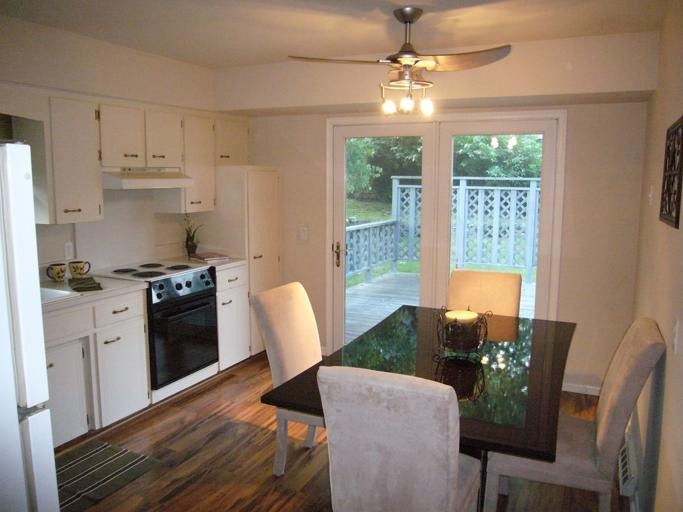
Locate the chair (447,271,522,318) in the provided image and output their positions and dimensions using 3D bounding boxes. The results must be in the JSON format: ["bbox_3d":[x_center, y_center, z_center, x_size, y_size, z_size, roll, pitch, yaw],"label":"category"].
[{"bbox_3d":[1.110,0.265,4.071,0.364,0.528,0.434,3,-3,19],"label":"chair"}]

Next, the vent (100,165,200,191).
[{"bbox_3d":[-1.634,-0.666,4.520,0.322,0.175,0.783,7,15,24],"label":"vent"}]

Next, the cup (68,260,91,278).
[{"bbox_3d":[-2.098,0.105,4.211,0.134,0.126,0.179,3,6,32],"label":"cup"}]

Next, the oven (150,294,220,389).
[{"bbox_3d":[-1.473,0.760,4.565,0.492,0.688,0.753,0,6,32],"label":"oven"}]

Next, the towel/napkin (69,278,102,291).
[{"bbox_3d":[-1.894,0.215,3.905,0.140,0.043,0.139,-2,12,-27],"label":"towel/napkin"}]

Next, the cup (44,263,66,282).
[{"bbox_3d":[-2.197,0.133,4.071,0.158,0.120,0.109,1,2,42],"label":"cup"}]
